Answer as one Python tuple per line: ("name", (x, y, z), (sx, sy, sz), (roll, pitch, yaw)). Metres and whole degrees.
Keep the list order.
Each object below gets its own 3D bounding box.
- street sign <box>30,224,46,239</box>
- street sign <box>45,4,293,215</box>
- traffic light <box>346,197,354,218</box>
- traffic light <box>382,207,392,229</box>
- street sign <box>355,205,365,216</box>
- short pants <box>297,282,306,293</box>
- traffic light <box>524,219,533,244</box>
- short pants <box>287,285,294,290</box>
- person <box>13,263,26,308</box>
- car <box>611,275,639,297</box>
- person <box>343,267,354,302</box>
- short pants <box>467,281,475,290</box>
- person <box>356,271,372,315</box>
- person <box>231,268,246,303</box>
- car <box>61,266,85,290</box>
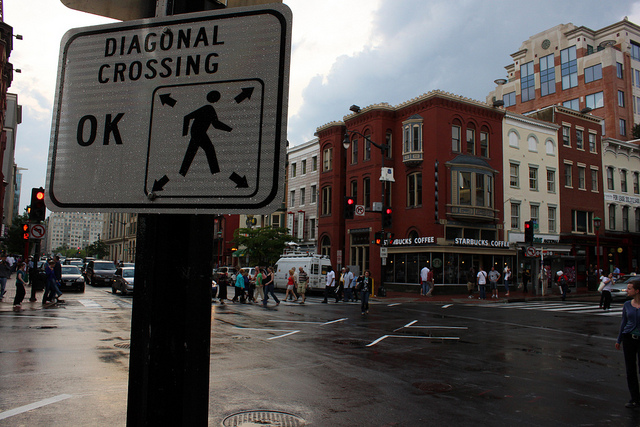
("street sign", (-11.813, 0.784, 23.468), (0.643, 0.707, 0.095), (2, -2, -29))
("street sign", (-1.281, -0.837, 5.024), (1.867, 1.485, 0.153), (1, 0, 15))
("traffic light", (1.394, -0.250, 27.851), (0.349, 1.022, 0.968), (2, -3, -2))
("traffic light", (3.500, 0.301, 30.126), (0.439, 1.176, 1.148), (2, -3, 2))
("street sign", (2.431, -0.119, 35.365), (0.725, 0.686, 0.097), (4, -9, -34))
("short pants", (-1.005, 3.837, 28.874), (0.587, 0.713, 0.453), (1, -11, 5))
("traffic light", (12.402, 1.156, 33.624), (0.335, 1.289, 1.417), (0, -4, 23))
("short pants", (-1.500, 3.810, 28.683), (0.267, 0.364, 0.200), (14, -5, -21))
("person", (-11.261, 2.730, 21.077), (0.337, 1.571, 1.141), (3, -4, -28))
("car", (16.928, 4.106, 31.549), (1.090, 1.241, 2.119), (0, -4, 29))
("person", (1.511, 3.966, 30.859), (0.626, 1.752, 1.507), (2, -3, 3))
("short pants", (9.470, 4.625, 35.708), (0.035, 0.463, 0.663), (1, -3, 38))
("person", (1.773, 3.237, 23.250), (0.703, 1.819, 0.909), (-4, -17, 26))
("person", (-3.975, 3.584, 27.331), (0.548, 1.625, 0.851), (2, -3, -10))
("car", (-13.640, 3.635, 31.079), (1.066, 1.123, 1.531), (3, -4, -25))
